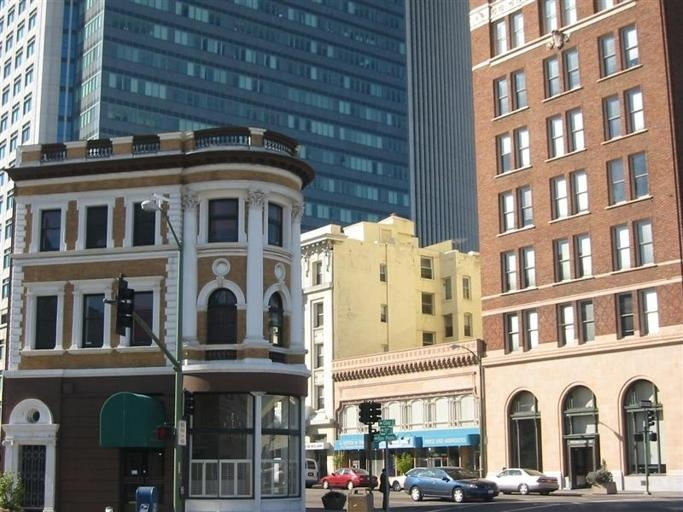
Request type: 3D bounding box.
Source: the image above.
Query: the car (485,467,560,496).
[{"bbox_3d":[11.955,15.080,79.486,1.934,1.281,4.484,6,-7,-45],"label":"car"}]

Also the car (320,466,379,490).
[{"bbox_3d":[0.395,16.629,88.445,2.065,1.779,5.167,6,-17,-24],"label":"car"}]

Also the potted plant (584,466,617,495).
[{"bbox_3d":[17.123,15.004,78.950,1.693,1.647,1.651,3,-8,-15],"label":"potted plant"}]

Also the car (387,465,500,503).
[{"bbox_3d":[6.724,14.422,74.724,1.868,2.418,5.972,12,-20,-39],"label":"car"}]
